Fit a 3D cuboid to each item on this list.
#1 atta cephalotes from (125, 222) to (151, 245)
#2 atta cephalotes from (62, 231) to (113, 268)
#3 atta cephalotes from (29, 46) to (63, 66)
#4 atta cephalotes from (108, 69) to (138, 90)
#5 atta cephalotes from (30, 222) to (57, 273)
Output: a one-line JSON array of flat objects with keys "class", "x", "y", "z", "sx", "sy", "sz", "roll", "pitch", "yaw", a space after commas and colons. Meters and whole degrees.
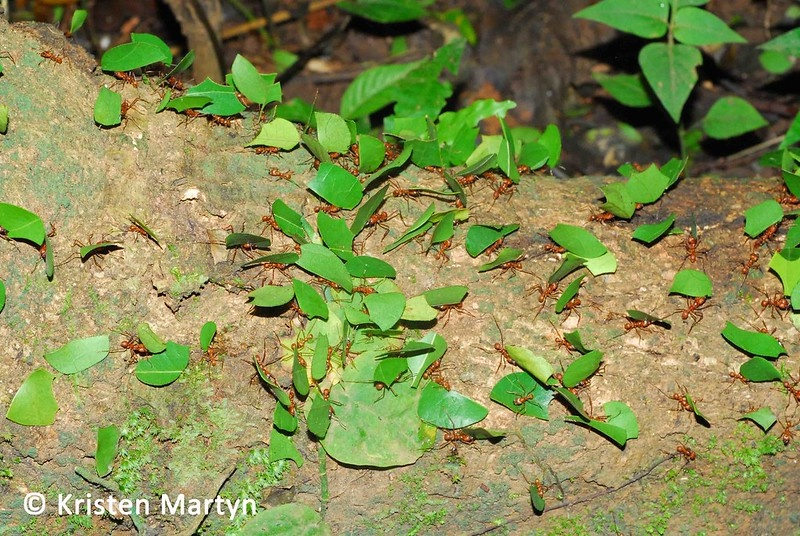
[{"class": "atta cephalotes", "x": -1.354, "y": -0.179, "z": 4.066, "sx": 0.104, "sy": 0.031, "sz": 0.077, "roll": 36, "pitch": 59, "yaw": -18}, {"class": "atta cephalotes", "x": -1.617, "y": -0.105, "z": 4.016, "sx": 0.300, "sy": 0.095, "sz": 0.126, "roll": -25, "pitch": 72, "yaw": -20}, {"class": "atta cephalotes", "x": -1.858, "y": -1.132, "z": 4.176, "sx": 0.092, "sy": 0.028, "sz": 0.078, "roll": 12, "pitch": 66, "yaw": -21}, {"class": "atta cephalotes", "x": -1.491, "y": -1.023, "z": 4.252, "sx": 0.111, "sy": 0.041, "sz": 0.084, "roll": 21, "pitch": 77, "yaw": 6}, {"class": "atta cephalotes", "x": -1.826, "y": -0.082, "z": 4.028, "sx": 0.147, "sy": 0.057, "sz": 0.200, "roll": -14, "pitch": 103, "yaw": -34}]
